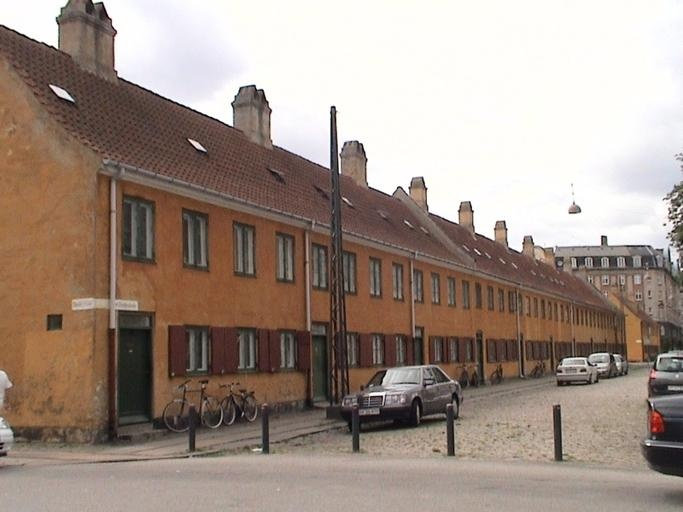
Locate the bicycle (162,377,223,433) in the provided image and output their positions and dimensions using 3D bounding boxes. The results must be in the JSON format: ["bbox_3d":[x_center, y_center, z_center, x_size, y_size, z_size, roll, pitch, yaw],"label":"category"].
[{"bbox_3d":[-4.139,4.251,21.591,0.886,0.910,2.202,5,2,23],"label":"bicycle"}]

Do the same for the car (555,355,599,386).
[{"bbox_3d":[13.637,6.578,43.790,1.255,1.174,3.223,-4,-6,23],"label":"car"}]

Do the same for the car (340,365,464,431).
[{"bbox_3d":[1.751,4.105,22.086,1.832,1.466,4.335,6,2,39],"label":"car"}]

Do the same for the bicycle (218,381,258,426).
[{"bbox_3d":[-3.137,4.510,23.282,0.629,1.194,1.756,-12,-12,31],"label":"bicycle"}]
